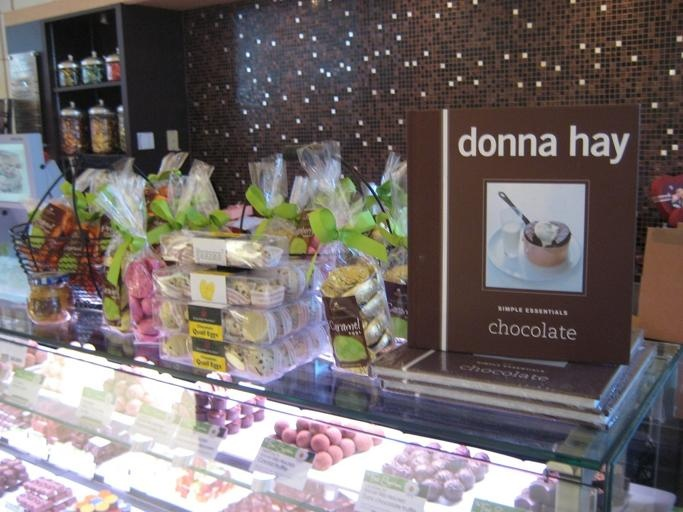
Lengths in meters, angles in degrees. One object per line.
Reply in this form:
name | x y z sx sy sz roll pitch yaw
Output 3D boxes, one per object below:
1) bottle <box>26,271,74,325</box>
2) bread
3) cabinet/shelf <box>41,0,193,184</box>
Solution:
bottle | -0.734 0.109 1.332 0.111 0.133 0.113 3 5 15
bread | -0.256 -0.026 1.055 0.594 0.220 0.406 7 14 26
cabinet/shelf | -1.490 -1.114 3.395 0.815 0.995 0.514 9 18 27
